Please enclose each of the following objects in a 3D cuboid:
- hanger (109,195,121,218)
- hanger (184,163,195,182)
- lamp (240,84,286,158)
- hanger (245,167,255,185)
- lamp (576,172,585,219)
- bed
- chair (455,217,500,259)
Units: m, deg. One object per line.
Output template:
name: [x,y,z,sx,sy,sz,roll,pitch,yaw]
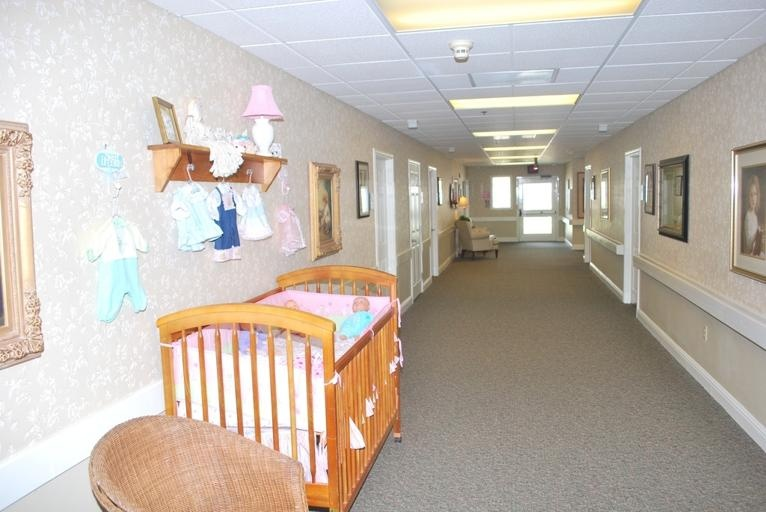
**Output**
hanger: [-1.717,-0.322,3.326,0.031,0.139,0.079,-2,9,-1]
hanger: [-1.406,-0.612,3.789,0.058,0.134,0.163,-5,10,-20]
lamp: [-1.005,-1.126,4.348,0.357,0.564,0.353,-5,10,-34]
hanger: [-1.130,-0.685,4.408,0.049,0.034,0.190,-3,-34,-19]
lamp: [6.135,-1.886,16.197,0.220,1.477,0.405,2,10,21]
bed: [-0.627,0.882,4.383,1.182,1.505,1.976,2,9,16]
chair: [2.943,-0.587,15.413,1.128,1.150,1.070,-8,11,-21]
